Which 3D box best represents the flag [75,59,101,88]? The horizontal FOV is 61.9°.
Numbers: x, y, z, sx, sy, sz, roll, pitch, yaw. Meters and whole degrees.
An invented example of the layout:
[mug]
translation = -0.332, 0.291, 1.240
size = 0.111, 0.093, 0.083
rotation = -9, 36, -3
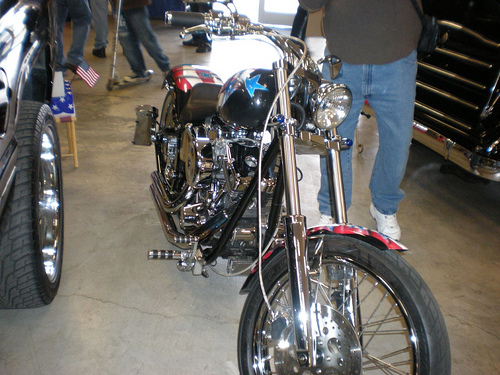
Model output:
[flag]
translation = -1.519, -1.064, 3.903
size = 0.053, 0.217, 0.219
rotation = 7, 57, 43
